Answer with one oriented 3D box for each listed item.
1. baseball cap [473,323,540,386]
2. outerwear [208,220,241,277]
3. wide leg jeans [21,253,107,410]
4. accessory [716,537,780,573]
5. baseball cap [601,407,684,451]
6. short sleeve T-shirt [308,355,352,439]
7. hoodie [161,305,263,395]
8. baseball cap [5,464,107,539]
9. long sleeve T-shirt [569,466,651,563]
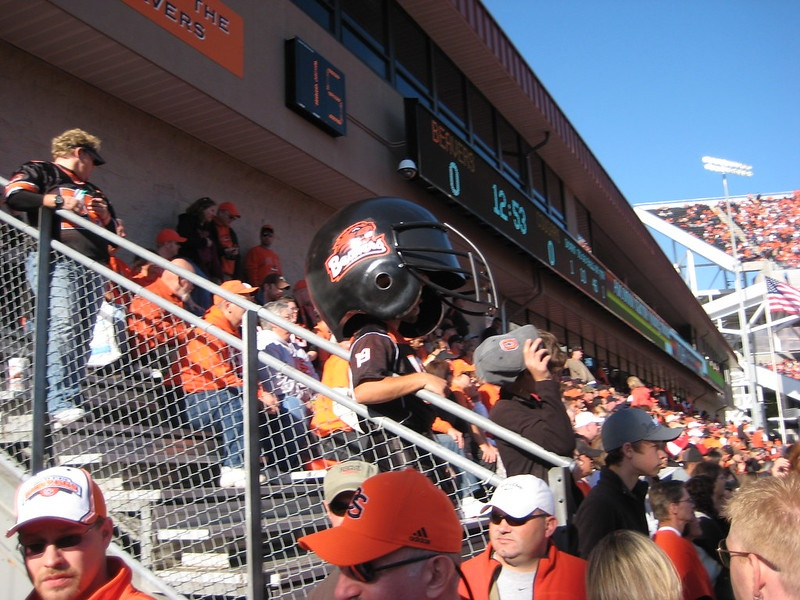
[{"bbox_3d":[0.663,0.343,4.980,0.411,0.362,0.232,-6,-13,2],"label":"baseball cap"},{"bbox_3d":[-1.998,-0.571,9.306,0.296,0.532,0.480,7,12,14],"label":"outerwear"},{"bbox_3d":[-2.099,0.235,5.223,0.332,1.017,0.442,-2,-15,-18],"label":"wide leg jeans"},{"bbox_3d":[1.614,1.164,3.771,0.221,0.060,0.222,22,-14,-37],"label":"accessory"},{"bbox_3d":[1.647,0.889,5.521,0.513,0.185,0.279,-14,0,11],"label":"baseball cap"},{"bbox_3d":[-0.494,0.686,5.887,0.488,0.566,0.177,2,-22,-16],"label":"short sleeve T-shirt"},{"bbox_3d":[-1.364,0.420,5.779,0.788,0.723,0.899,-1,2,-13],"label":"hoodie"},{"bbox_3d":[-1.656,0.990,3.978,0.398,0.205,0.449,-10,-13,9],"label":"baseball cap"},{"bbox_3d":[1.307,1.296,5.003,0.723,0.480,0.261,6,-18,-43],"label":"long sleeve T-shirt"}]
